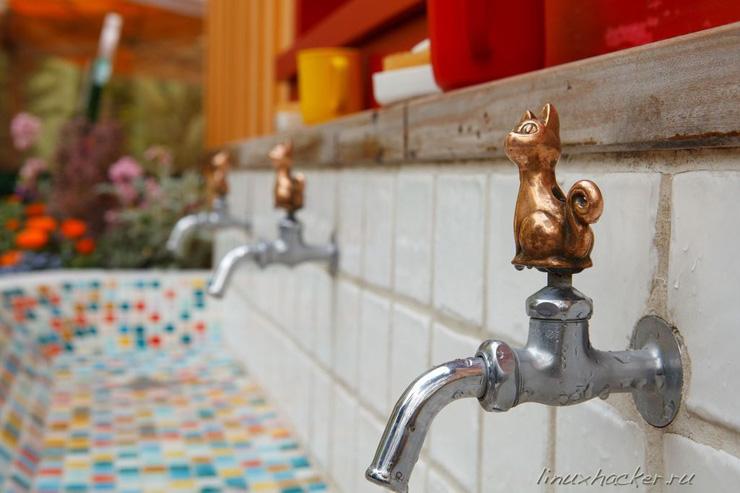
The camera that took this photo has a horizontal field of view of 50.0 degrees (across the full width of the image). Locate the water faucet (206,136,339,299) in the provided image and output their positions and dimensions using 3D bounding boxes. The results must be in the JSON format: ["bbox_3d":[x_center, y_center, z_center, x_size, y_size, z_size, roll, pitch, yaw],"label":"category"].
[{"bbox_3d":[-0.109,-0.045,1.049,0.128,0.178,0.299,2,7,9],"label":"water faucet"}]
